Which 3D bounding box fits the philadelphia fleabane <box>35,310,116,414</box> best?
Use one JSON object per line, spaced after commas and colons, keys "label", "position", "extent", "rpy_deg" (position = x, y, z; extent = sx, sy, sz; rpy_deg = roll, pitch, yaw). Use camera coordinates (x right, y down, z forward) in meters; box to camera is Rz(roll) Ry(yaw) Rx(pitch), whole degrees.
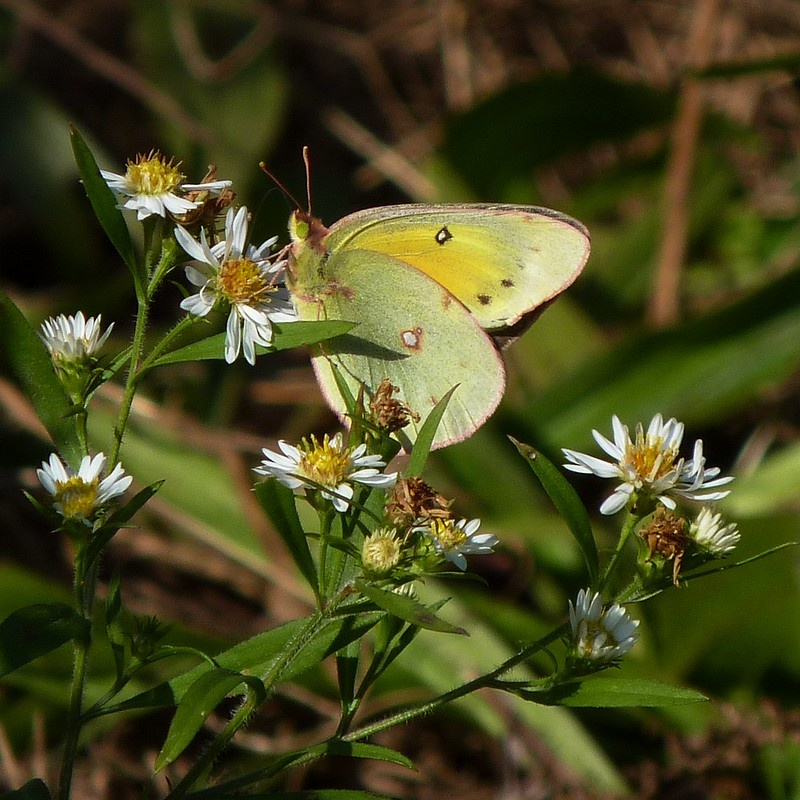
{"label": "philadelphia fleabane", "position": [-0.755, -0.084, 2.694], "extent": [0.146, 0.191, 0.131], "rpy_deg": [1, 17, 7]}

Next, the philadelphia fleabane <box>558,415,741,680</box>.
{"label": "philadelphia fleabane", "position": [0.605, 0.209, 2.832], "extent": [0.367, 0.434, 0.395], "rpy_deg": [1, 49, 15]}

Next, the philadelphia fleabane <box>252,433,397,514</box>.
{"label": "philadelphia fleabane", "position": [-0.182, 0.149, 2.692], "extent": [0.298, 0.101, 0.304], "rpy_deg": [-16, 12, -13]}

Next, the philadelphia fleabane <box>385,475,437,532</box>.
{"label": "philadelphia fleabane", "position": [0.024, 0.217, 2.606], "extent": [0.128, 0.100, 0.106], "rpy_deg": [-10, 47, 6]}

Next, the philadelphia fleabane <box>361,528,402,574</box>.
{"label": "philadelphia fleabane", "position": [-0.044, 0.328, 2.549], "extent": [0.077, 0.052, 0.090], "rpy_deg": [-1, 52, 1]}

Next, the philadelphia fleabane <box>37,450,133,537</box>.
{"label": "philadelphia fleabane", "position": [-0.689, 0.191, 2.560], "extent": [0.178, 0.097, 0.163], "rpy_deg": [11, 28, -9]}

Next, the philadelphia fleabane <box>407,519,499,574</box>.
{"label": "philadelphia fleabane", "position": [0.114, 0.309, 2.651], "extent": [0.171, 0.049, 0.161], "rpy_deg": [-25, 33, -37]}

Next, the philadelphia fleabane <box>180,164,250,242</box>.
{"label": "philadelphia fleabane", "position": [-0.454, -0.446, 2.785], "extent": [0.154, 0.155, 0.117], "rpy_deg": [-36, 74, -15]}

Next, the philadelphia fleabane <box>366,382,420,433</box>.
{"label": "philadelphia fleabane", "position": [-0.028, 0.012, 2.800], "extent": [0.108, 0.127, 0.124], "rpy_deg": [-13, 64, 41]}
